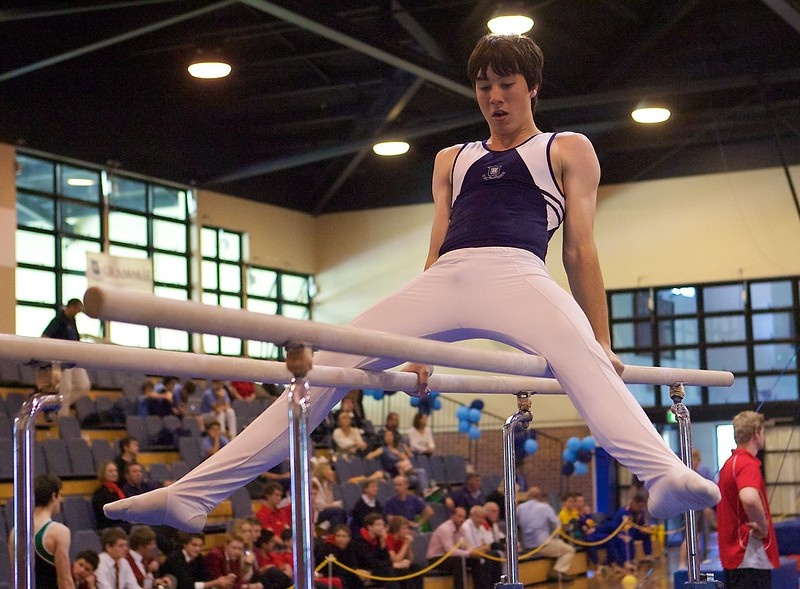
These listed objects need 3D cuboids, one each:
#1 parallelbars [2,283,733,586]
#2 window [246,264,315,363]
[{"bbox_3d":[-0.201,0.919,5.761,3.889,1.606,1.090,2,-13,-24],"label":"parallelbars"},{"bbox_3d":[-1.745,0.145,14.103,0.243,1.978,1.124,2,2,41],"label":"window"}]
